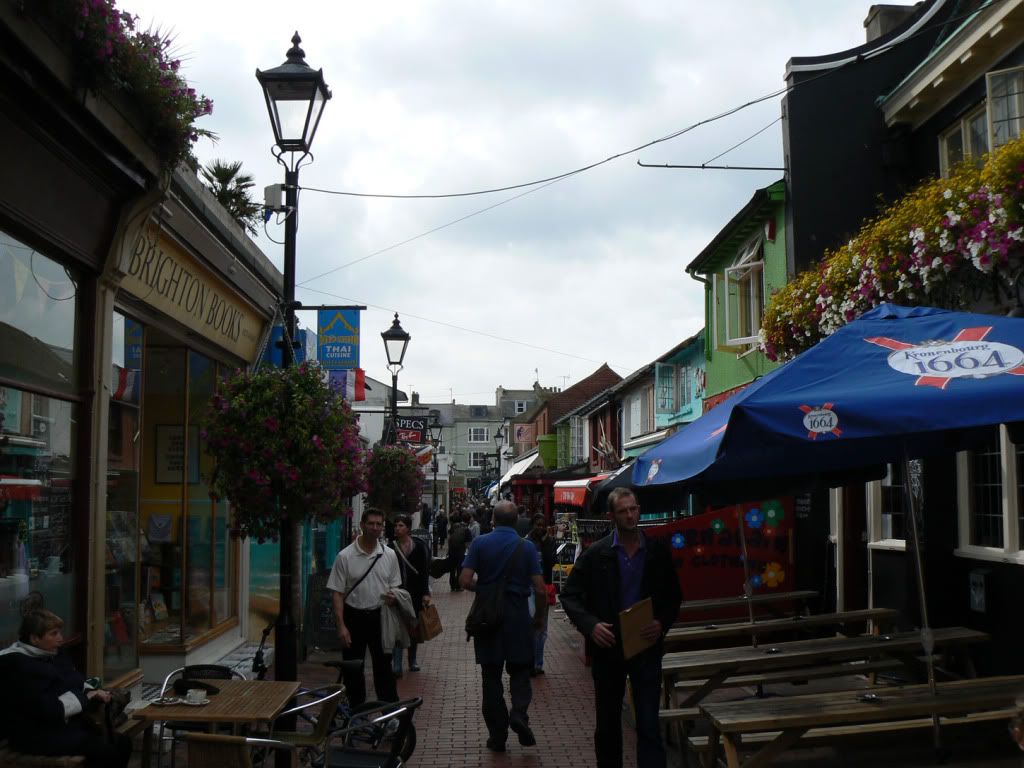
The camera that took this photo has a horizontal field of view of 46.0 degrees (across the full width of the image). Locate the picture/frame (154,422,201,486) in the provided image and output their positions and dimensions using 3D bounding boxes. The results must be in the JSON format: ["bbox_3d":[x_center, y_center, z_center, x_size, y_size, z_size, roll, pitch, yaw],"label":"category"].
[{"bbox_3d":[-3.868,0.807,13.948,0.658,0.947,0.113,1,1,-28],"label":"picture/frame"}]

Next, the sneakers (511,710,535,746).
[{"bbox_3d":[0.087,3.286,11.483,0.143,0.177,0.416,-18,-56,15],"label":"sneakers"}]

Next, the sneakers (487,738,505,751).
[{"bbox_3d":[-0.148,3.445,11.529,0.201,0.125,0.163,-3,-14,12],"label":"sneakers"}]

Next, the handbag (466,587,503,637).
[{"bbox_3d":[-0.254,2.199,11.633,0.382,0.447,0.169,-6,-14,24],"label":"handbag"}]

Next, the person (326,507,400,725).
[{"bbox_3d":[-1.448,2.359,12.175,0.796,2.139,0.658,-1,10,-18],"label":"person"}]

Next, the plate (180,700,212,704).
[{"bbox_3d":[-2.408,2.442,9.268,0.197,0.045,0.104,3,-14,-13],"label":"plate"}]

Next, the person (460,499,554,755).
[{"bbox_3d":[-0.074,2.333,11.831,0.701,2.430,0.742,-3,-13,14],"label":"person"}]
